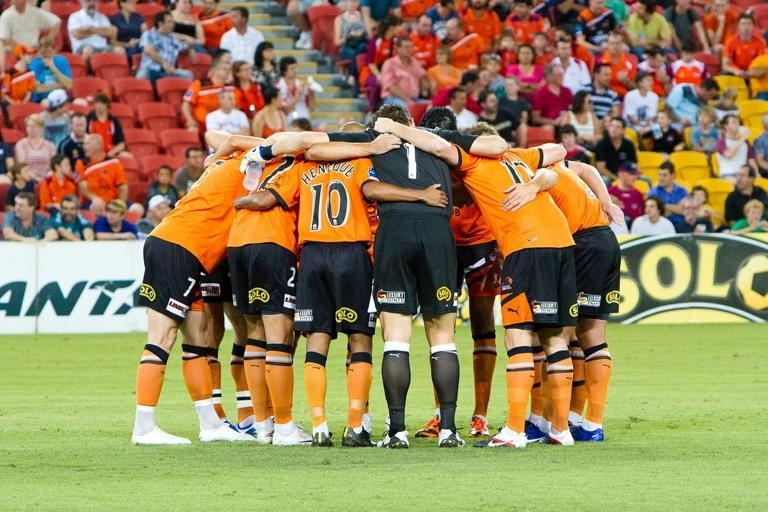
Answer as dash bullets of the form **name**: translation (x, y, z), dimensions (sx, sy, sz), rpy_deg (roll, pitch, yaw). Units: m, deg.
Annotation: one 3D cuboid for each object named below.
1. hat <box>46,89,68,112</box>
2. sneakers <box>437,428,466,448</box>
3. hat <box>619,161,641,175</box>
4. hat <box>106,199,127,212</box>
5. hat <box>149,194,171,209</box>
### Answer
- **hat**: translation (-6.527, -3.205, 27.795), dimensions (0.311, 0.269, 0.506), rpy_deg (-9, 32, 25)
- **sneakers**: translation (0.966, 2.556, 19.484), dimensions (0.371, 0.243, 0.196), rpy_deg (0, -3, 3)
- **hat**: translation (4.988, -1.817, 27.988), dimensions (0.361, 0.344, 0.618), rpy_deg (-1, -3, 10)
- **hat**: translation (-5.108, -0.994, 26.434), dimensions (0.334, 0.264, 0.373), rpy_deg (1, -3, -17)
- **hat**: translation (-4.325, -1.081, 26.730), dimensions (0.385, 0.283, 0.502), rpy_deg (1, -3, -12)
